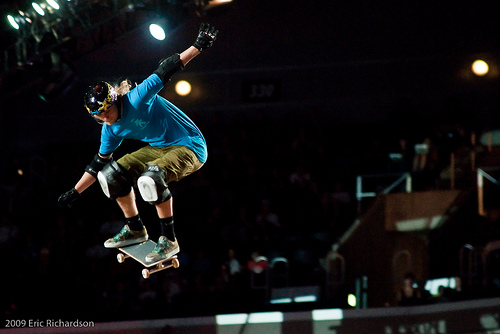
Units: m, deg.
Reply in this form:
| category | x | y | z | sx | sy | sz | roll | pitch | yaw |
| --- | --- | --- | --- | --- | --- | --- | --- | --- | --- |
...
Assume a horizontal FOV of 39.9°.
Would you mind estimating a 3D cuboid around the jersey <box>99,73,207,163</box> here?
| category | x | y | z | sx | sy | sz | roll | pitch | yaw |
| --- | --- | --- | --- | --- | --- | --- | --- | --- | --- |
| jersey | -1.303 | -0.551 | 9.498 | 1.082 | 0.467 | 1.635 | 27 | -48 | -30 |
